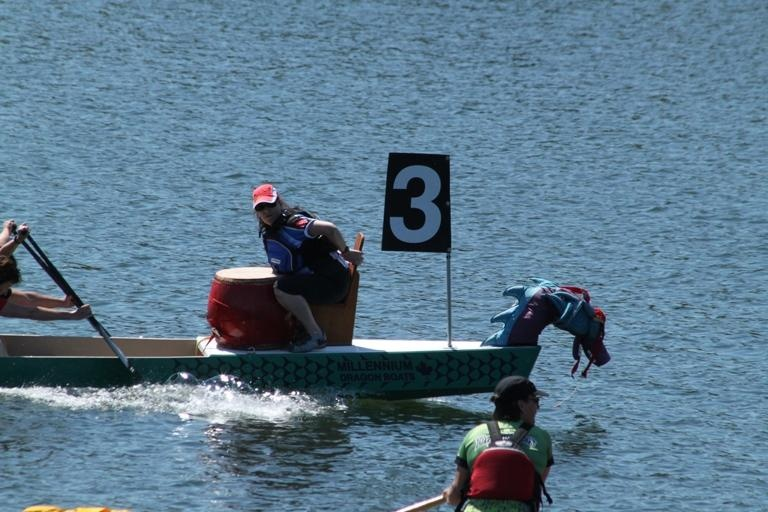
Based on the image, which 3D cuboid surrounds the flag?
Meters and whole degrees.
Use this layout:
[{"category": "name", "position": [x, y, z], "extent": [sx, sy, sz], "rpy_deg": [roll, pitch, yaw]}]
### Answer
[{"category": "flag", "position": [0.584, -0.850, 26.157], "extent": [1.259, 1.566, 1.118], "rpy_deg": [1, -7, 2]}]

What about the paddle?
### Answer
[{"category": "paddle", "position": [-5.015, 0.630, 25.273], "extent": [0.252, 0.379, 4.176], "rpy_deg": [-11, 39, -37]}]

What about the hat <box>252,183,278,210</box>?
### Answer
[{"category": "hat", "position": [-1.922, -0.956, 25.321], "extent": [0.382, 0.375, 0.445], "rpy_deg": [5, 36, -6]}]

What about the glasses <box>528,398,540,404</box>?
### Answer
[{"category": "glasses", "position": [2.057, 2.021, 21.701], "extent": [0.196, 0.071, 0.131], "rpy_deg": [0, 0, 14]}]

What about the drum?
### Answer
[{"category": "drum", "position": [-1.977, 0.856, 26.016], "extent": [1.886, 1.199, 1.347], "rpy_deg": [1, 6, 2]}]
